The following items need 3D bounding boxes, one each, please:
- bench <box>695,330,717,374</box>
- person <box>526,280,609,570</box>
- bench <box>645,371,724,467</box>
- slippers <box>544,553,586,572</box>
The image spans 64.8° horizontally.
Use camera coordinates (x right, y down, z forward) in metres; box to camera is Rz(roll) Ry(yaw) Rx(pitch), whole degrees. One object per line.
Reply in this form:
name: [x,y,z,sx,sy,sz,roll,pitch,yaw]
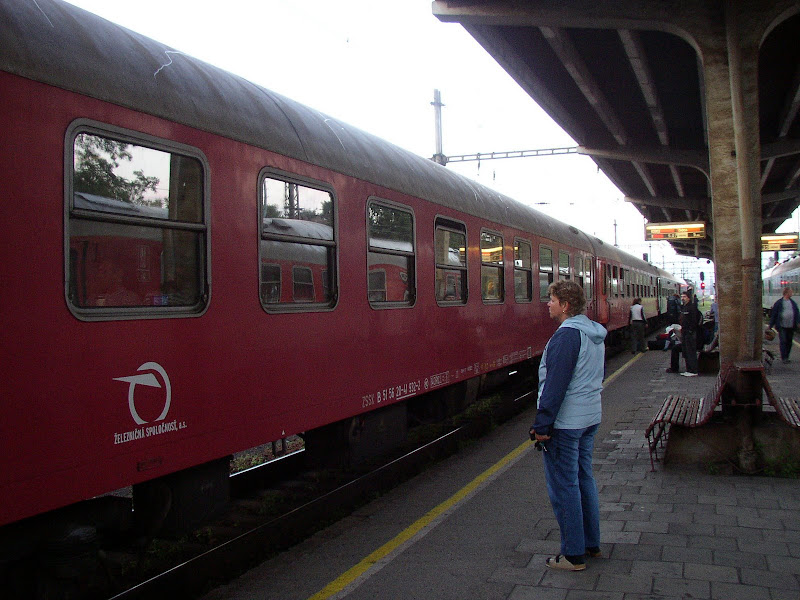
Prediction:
bench: [6.830,1.145,13.988,0.402,0.945,1.914,-3,0,25]
person: [1.176,0.853,4.419,0.645,1.942,0.283,-2,-1,-30]
bench: [3.394,1.318,7.373,0.701,1.039,2.172,2,0,28]
slippers: [1.145,1.801,4.363,0.265,0.130,0.114,2,-1,29]
